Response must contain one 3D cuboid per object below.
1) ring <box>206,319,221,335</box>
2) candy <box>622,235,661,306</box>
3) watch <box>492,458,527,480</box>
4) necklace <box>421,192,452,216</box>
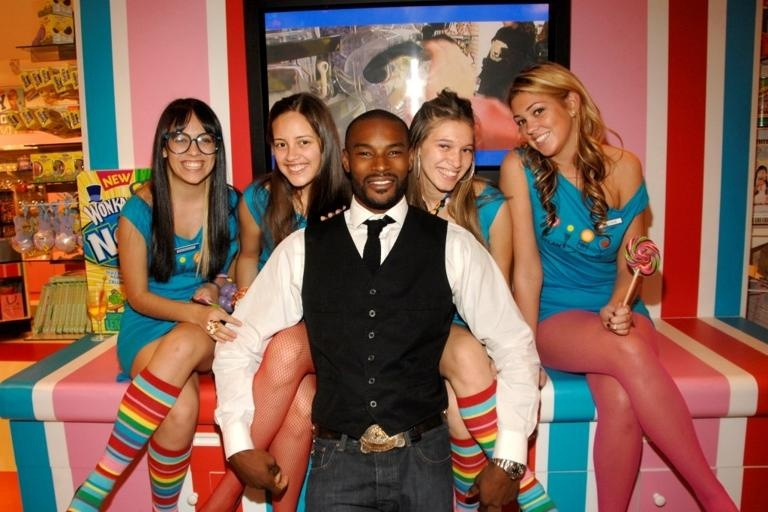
[{"bbox_3d":[-0.809,0.335,2.520,0.067,0.068,0.018,-2,-10,26],"label":"ring"},{"bbox_3d":[1.262,0.104,2.660,0.172,0.410,0.084,13,-2,-4],"label":"candy"},{"bbox_3d":[0.527,0.871,2.205,0.111,0.063,0.100,20,-3,41],"label":"watch"},{"bbox_3d":[0.282,-0.269,2.869,0.046,0.127,0.092,31,-7,-38],"label":"necklace"}]
